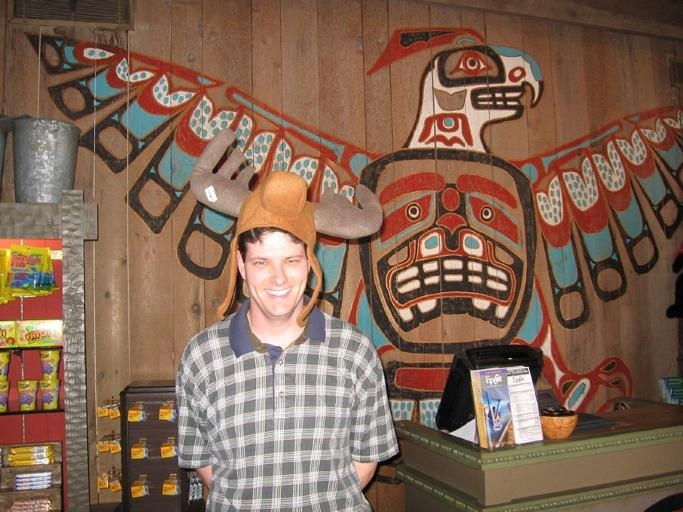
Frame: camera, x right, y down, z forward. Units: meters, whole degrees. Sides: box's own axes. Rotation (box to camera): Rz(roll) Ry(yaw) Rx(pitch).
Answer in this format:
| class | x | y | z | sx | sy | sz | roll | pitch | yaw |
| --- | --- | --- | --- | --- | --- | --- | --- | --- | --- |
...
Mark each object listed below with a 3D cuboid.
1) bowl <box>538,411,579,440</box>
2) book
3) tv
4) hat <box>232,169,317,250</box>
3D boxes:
| class | x | y | z | sx | sy | sz | roll | pitch | yaw |
| --- | --- | --- | --- | --- | --- | --- | --- | --- | --- |
| bowl | 1.262 | 0.992 | 4.146 | 0.153 | 0.102 | 0.155 | -1 | -16 | 0 |
| book | 0.928 | 0.873 | 4.079 | 0.387 | 0.422 | 0.128 | -3 | -12 | -22 |
| tv | 0.911 | 0.671 | 4.417 | 0.667 | 0.706 | 0.467 | 1 | -6 | -15 |
| hat | -0.308 | -0.250 | 3.578 | 0.288 | 0.338 | 0.430 | 15 | 33 | 12 |
